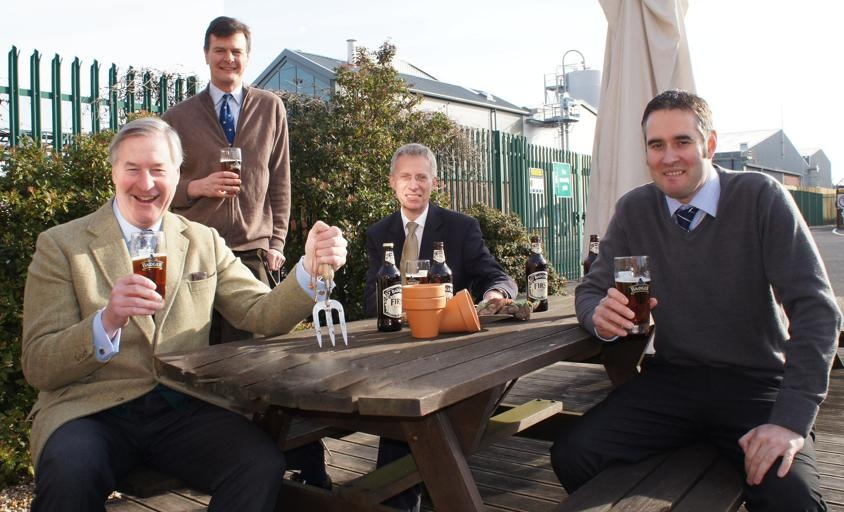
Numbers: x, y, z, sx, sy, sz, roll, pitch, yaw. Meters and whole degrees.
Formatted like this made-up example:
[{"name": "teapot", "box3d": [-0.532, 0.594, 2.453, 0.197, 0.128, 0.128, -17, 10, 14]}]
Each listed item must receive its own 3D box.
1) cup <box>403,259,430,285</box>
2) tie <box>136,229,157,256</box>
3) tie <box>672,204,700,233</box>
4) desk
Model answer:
[{"name": "cup", "box3d": [-0.031, 0.095, 3.474, 0.162, 0.164, 0.164, 0, 1, 0]}, {"name": "tie", "box3d": [-1.389, -0.065, 2.839, 0.117, 0.133, 0.120, 3, 5, 34]}, {"name": "tie", "box3d": [1.620, -0.231, 3.435, 0.034, 0.145, 0.124, 9, -16, -40]}, {"name": "desk", "box3d": [-0.069, 0.873, 3.055, 2.368, 0.822, 1.164, -2, 2, -28]}]
